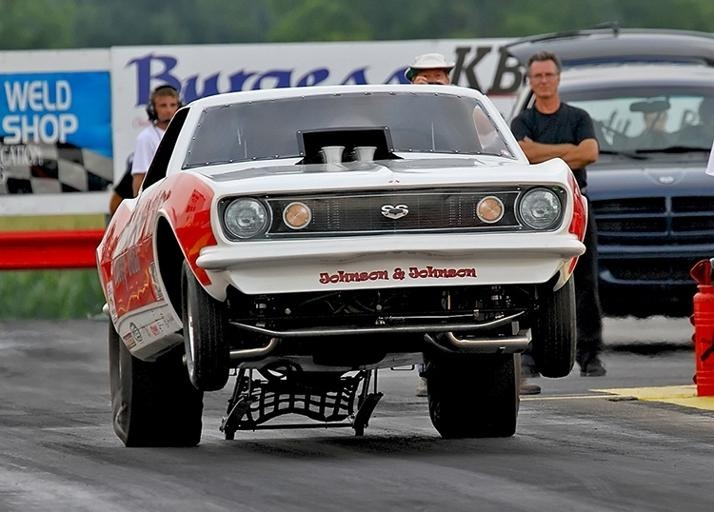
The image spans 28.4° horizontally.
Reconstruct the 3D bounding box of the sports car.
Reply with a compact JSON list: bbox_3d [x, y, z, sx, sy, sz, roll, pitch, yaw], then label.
[{"bbox_3d":[-0.222,-0.179,9.903,2.699,1.772,4.391,-2,2,-14],"label":"sports car"}]

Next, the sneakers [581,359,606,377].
[{"bbox_3d":[2.074,1.026,12.401,0.141,0.057,0.178,-13,40,2],"label":"sneakers"}]
